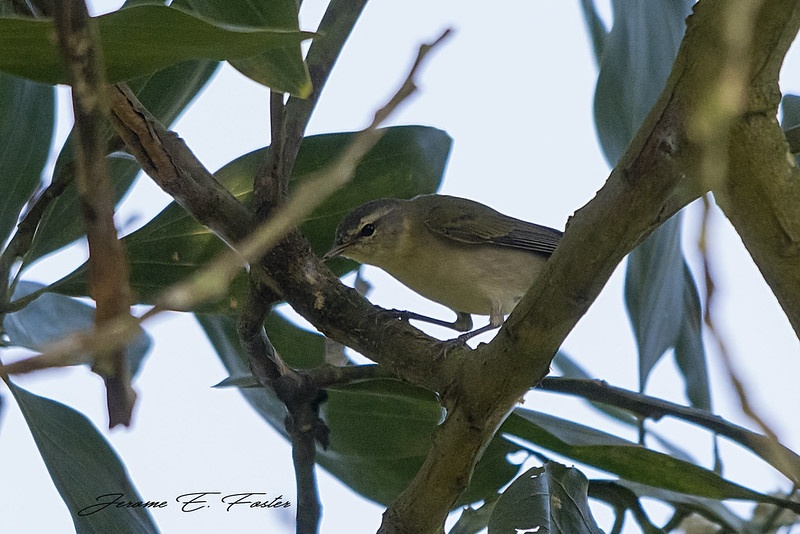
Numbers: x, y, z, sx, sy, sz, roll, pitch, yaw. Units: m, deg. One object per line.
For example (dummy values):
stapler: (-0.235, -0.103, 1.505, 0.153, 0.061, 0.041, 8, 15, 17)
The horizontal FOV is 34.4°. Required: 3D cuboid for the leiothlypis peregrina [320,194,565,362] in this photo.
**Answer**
leiothlypis peregrina: (0.149, -0.034, 2.328, 0.193, 0.598, 0.270, -3, -84, 51)
